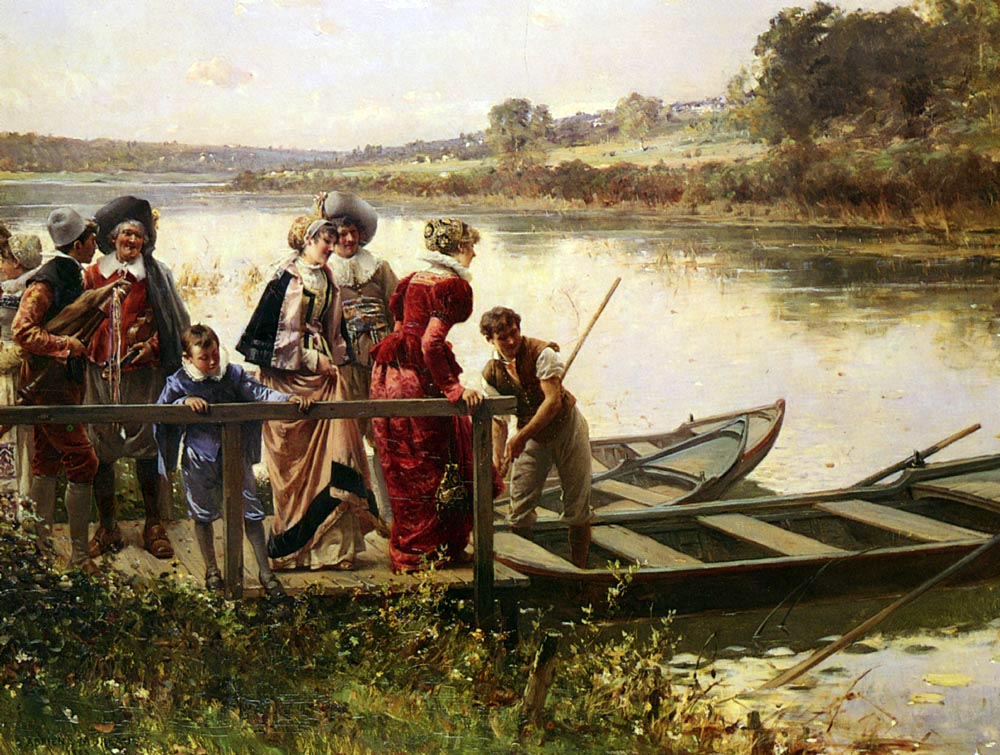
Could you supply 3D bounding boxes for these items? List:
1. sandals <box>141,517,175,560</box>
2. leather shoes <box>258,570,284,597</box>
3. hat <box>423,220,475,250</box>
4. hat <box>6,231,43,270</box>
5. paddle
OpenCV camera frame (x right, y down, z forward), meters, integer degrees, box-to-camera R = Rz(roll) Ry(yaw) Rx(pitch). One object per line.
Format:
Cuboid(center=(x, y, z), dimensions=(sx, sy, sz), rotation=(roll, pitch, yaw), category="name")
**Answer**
Cuboid(center=(-1.991, 0.936, 6.151), dimensions=(0.121, 0.124, 0.339), rotation=(-3, 3, -27), category="sandals")
Cuboid(center=(-1.241, 1.096, 5.746), dimensions=(0.075, 0.074, 0.180), rotation=(-12, 28, -31), category="leather shoes")
Cuboid(center=(-0.273, -0.778, 5.855), dimensions=(0.198, 0.093, 0.226), rotation=(4, 6, 29), category="hat")
Cuboid(center=(-2.816, -0.781, 6.344), dimensions=(0.184, 0.193, 0.218), rotation=(4, 38, -35), category="hat")
Cuboid(center=(2.450, 1.530, 6.925), dimensions=(1.775, 0.087, 0.198), rotation=(-26, -12, -21), category="paddle")
